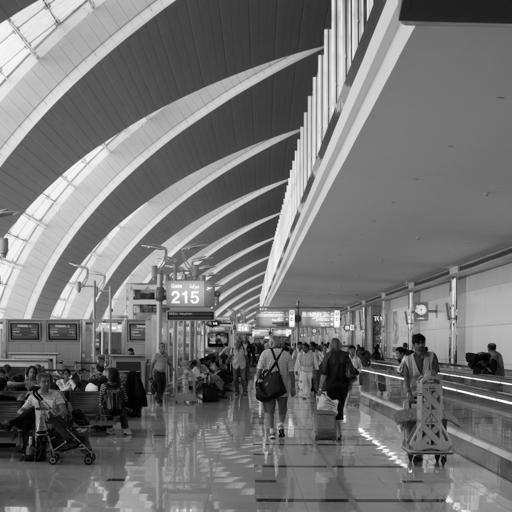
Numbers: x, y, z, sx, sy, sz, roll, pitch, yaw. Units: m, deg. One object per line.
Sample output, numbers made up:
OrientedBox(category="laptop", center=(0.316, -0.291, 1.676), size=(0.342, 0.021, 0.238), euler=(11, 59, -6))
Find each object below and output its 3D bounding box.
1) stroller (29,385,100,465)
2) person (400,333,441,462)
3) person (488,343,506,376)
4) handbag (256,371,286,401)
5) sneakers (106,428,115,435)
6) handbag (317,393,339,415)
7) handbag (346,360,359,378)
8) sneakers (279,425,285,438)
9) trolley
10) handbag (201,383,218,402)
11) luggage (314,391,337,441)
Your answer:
OrientedBox(category="stroller", center=(-3.073, 2.619, 8.049), size=(0.861, 1.248, 0.820), euler=(1, -9, -27))
OrientedBox(category="person", center=(2.499, 1.998, 7.657), size=(0.532, 1.926, 0.533), euler=(-4, 15, 14))
OrientedBox(category="person", center=(5.798, 2.477, 12.223), size=(0.305, 0.737, 1.016), euler=(-3, -9, 25))
OrientedBox(category="handbag", center=(0.240, 2.246, 8.835), size=(0.365, 0.419, 0.195), euler=(-13, -9, 9))
OrientedBox(category="sneakers", center=(-3.049, 3.650, 10.596), size=(0.098, 0.107, 0.151), euler=(-1, -5, 3))
OrientedBox(category="handbag", center=(1.316, 2.716, 9.313), size=(0.309, 0.337, 0.138), euler=(5, -25, 5))
OrientedBox(category="handbag", center=(1.805, 2.156, 9.647), size=(0.242, 0.226, 0.376), euler=(3, -11, -10))
OrientedBox(category="sneakers", center=(0.479, 3.262, 9.547), size=(0.085, 0.121, 0.258), euler=(0, 3, 4))
OrientedBox(category="trolley", center=(2.345, 2.267, 7.067), size=(0.688, 1.271, 0.696), euler=(-1, -7, 8))
OrientedBox(category="handbag", center=(-1.566, 4.635, 17.111), size=(0.373, 0.626, 0.588), euler=(0, -3, 0))
OrientedBox(category="luggage", center=(1.282, 3.136, 9.345), size=(0.388, 0.755, 0.463), euler=(-8, -50, 14))
